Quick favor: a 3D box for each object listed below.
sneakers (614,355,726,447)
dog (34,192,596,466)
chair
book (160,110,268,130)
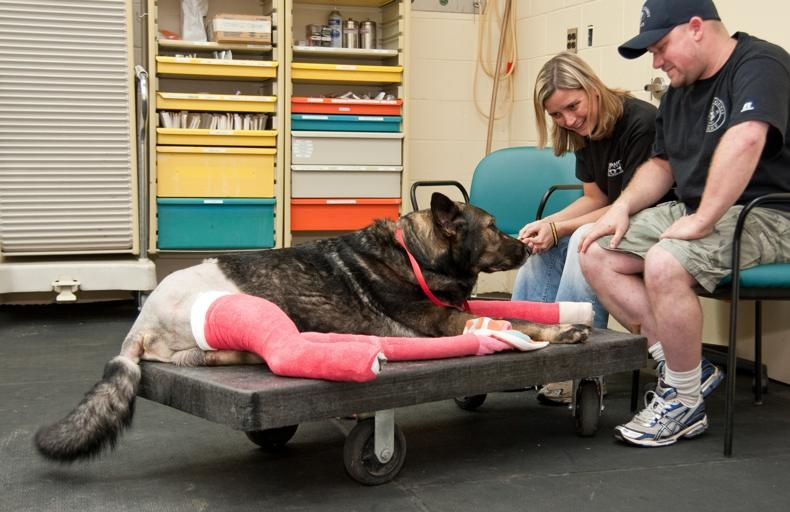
[{"bbox_3d":[1.197,0.584,2.782,0.633,0.270,0.205,-14,7,-32],"label":"sneakers"},{"bbox_3d":[-0.201,0.139,2.781,2.587,0.791,0.806,-10,10,-15],"label":"dog"},{"bbox_3d":[0.918,0.233,2.754,1.574,1.019,0.626,0,-1,1],"label":"chair"},{"bbox_3d":[-1.368,-1.037,5.023,0.839,0.143,0.270,-2,9,-14],"label":"book"}]
